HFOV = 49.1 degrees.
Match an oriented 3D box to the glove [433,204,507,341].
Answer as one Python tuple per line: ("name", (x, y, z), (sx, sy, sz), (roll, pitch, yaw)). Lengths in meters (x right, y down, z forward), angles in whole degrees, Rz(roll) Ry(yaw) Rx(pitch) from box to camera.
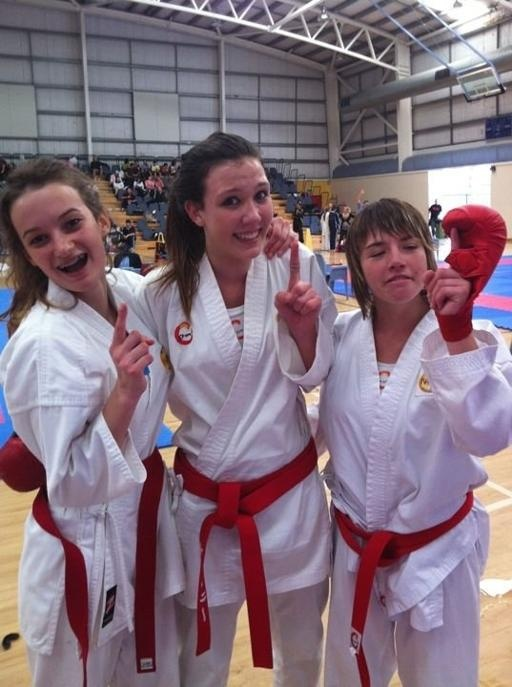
("glove", (0.480, -0.158, 1.261), (0.141, 0.299, 0.196), (6, 16, 34))
